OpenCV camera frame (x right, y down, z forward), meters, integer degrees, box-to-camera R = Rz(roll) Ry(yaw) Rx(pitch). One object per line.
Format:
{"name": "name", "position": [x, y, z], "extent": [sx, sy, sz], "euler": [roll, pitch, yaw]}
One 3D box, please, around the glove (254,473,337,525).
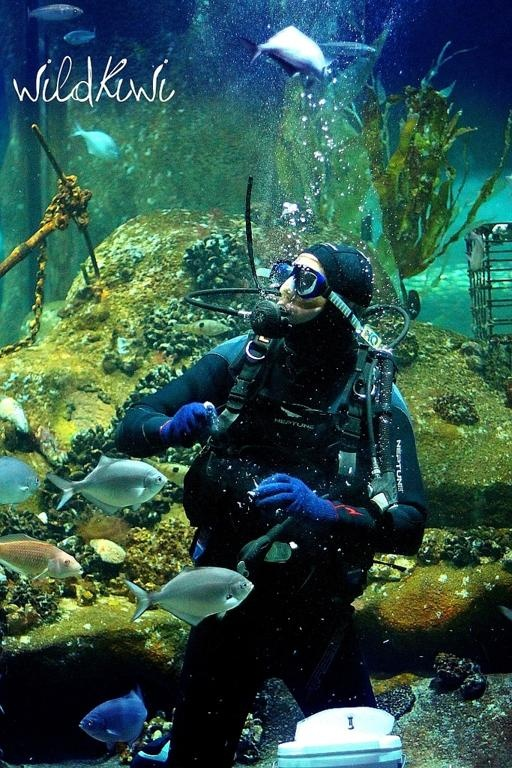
{"name": "glove", "position": [0.138, 0.431, 2.700], "extent": [0.295, 0.159, 0.110], "euler": [1, 33, -12]}

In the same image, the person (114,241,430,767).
{"name": "person", "position": [0.088, 0.475, 3.024], "extent": [1.227, 2.181, 0.740], "euler": [-2, 3, 6]}

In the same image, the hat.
{"name": "hat", "position": [0.365, -0.376, 3.162], "extent": [0.521, 0.470, 0.383], "euler": [-12, 18, -37]}

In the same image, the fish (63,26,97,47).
{"name": "fish", "position": [-1.860, -3.653, 7.549], "extent": [0.135, 0.222, 0.383], "euler": [0, 3, 34]}

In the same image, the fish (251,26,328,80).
{"name": "fish", "position": [0.335, -3.183, 6.916], "extent": [0.604, 0.484, 0.378], "euler": [-2, 3, 0]}

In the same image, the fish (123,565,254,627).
{"name": "fish", "position": [-0.273, 0.868, 2.960], "extent": [0.626, 0.284, 0.152], "euler": [0, 3, 34]}

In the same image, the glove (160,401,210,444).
{"name": "glove", "position": [-0.279, 0.164, 2.885], "extent": [0.218, 0.171, 0.156], "euler": [-2, 3, -7]}

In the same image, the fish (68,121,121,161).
{"name": "fish", "position": [-1.833, -2.766, 8.252], "extent": [0.563, 0.319, 0.161], "euler": [14, 18, -39]}

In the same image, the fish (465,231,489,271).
{"name": "fish", "position": [2.414, -1.461, 7.889], "extent": [0.204, 0.434, 0.254], "euler": [-1, 3, 16]}
